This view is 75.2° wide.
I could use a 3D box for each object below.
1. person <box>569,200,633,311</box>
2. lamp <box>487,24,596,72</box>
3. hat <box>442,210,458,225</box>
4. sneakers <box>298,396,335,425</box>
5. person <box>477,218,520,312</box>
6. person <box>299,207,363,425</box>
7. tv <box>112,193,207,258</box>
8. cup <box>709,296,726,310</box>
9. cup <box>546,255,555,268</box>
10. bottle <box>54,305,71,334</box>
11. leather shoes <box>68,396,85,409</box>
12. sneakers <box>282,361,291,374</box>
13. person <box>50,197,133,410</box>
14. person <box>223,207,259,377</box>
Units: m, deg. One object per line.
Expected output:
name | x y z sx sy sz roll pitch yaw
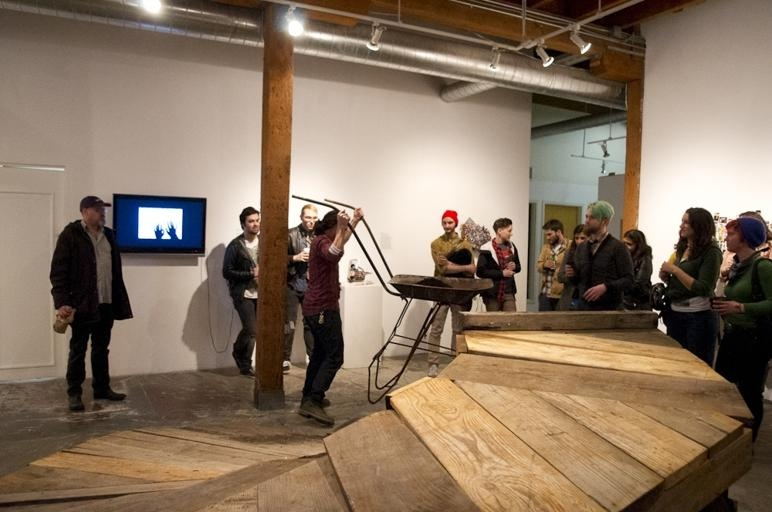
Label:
person | 2.190 0.008 5.135 0.522 1.132 0.612 1 4 -5
lamp | 1.813 -2.474 5.954 1.098 0.396 0.227 -7 43 23
hat | 0.877 -0.539 6.838 0.179 0.200 0.239 2 -2 17
sneakers | -0.670 1.529 4.920 0.336 0.287 0.211 2 4 14
person | 1.522 0.119 6.731 0.650 1.257 0.530 0 4 -11
person | -0.563 0.600 4.979 0.539 2.134 0.512 1 4 -4
tv | -2.930 -0.398 6.380 0.840 0.561 0.082 1 -2 -21
cup | 2.802 0.397 4.211 0.114 0.080 0.111 1 1 0
cup | 2.411 0.080 7.295 0.102 0.145 0.363 5 9 13
bottle | -3.227 0.645 5.030 0.145 0.271 0.255 -2 5 -32
leather shoes | -3.210 1.536 5.204 0.140 0.117 0.188 -2 5 -32
sneakers | -1.322 1.484 6.709 0.080 0.101 0.237 1 -9 -11
person | -3.105 0.478 5.299 0.710 2.217 0.459 -3 6 -41
person | -1.827 0.449 6.469 0.544 2.169 0.372 2 4 11
